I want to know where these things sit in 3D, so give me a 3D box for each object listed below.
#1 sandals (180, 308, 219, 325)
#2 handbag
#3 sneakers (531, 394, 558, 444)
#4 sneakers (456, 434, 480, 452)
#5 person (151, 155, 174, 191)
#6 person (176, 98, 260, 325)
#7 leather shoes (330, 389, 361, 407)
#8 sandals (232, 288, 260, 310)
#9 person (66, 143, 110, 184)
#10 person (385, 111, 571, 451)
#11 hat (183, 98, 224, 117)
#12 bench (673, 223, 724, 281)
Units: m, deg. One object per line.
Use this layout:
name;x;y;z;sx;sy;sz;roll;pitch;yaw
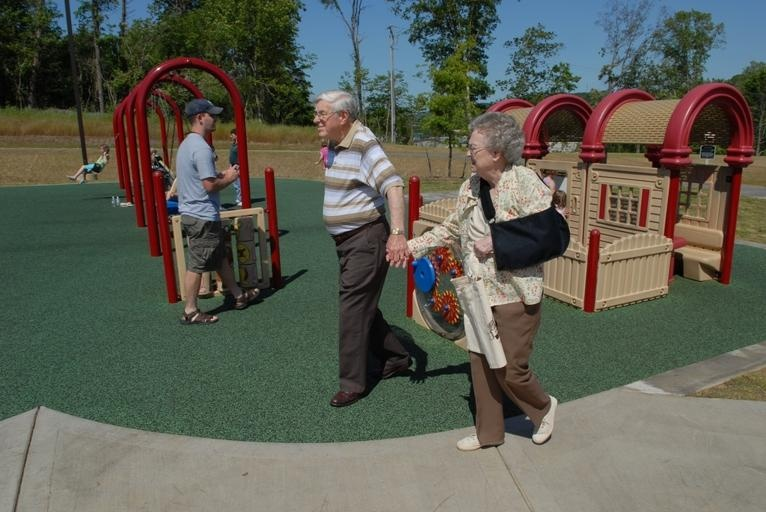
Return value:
sandals;-2.278;0.754;6.735;0.415;0.192;0.183;-3;10;-19
handbag;0.796;0.422;4.383;0.459;0.871;0.228;10;17;33
sneakers;1.359;1.425;4.678;0.171;0.466;0.161;13;4;-29
sneakers;0.701;1.564;4.575;0.176;0.075;0.107;1;7;-6
person;-5.146;-1.895;12.805;0.426;0.935;2.676;-5;16;-21
person;-2.177;-0.561;6.803;0.798;2.679;0.735;-4;15;-19
leather shoes;-0.370;1.353;5.226;0.273;0.122;0.133;9;-8;-38
sandals;-1.821;0.543;7.324;0.162;0.210;0.444;1;19;18
person;-10.498;-3.333;19.517;1.050;1.386;4.170;-8;17;-30
person;0.982;0.263;4.385;0.876;2.737;0.503;4;14;13
hat;-2.104;-1.759;6.457;0.443;0.186;0.285;-10;21;-29
bench;4.906;-0.033;8.512;0.382;0.578;0.775;-4;10;-16
